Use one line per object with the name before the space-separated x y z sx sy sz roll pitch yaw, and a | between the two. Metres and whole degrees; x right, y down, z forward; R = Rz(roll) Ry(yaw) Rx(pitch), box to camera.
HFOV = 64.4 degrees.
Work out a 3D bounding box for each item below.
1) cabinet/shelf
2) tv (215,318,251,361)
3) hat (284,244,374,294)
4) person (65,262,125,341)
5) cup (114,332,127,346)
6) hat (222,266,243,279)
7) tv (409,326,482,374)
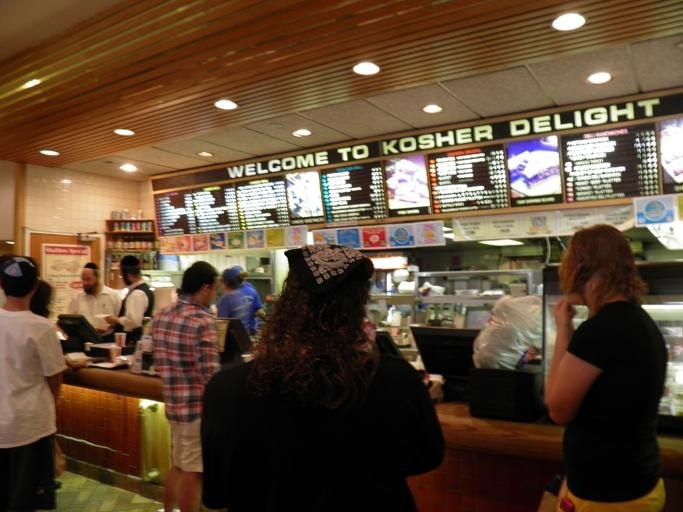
cabinet/shelf | -2.766 0.014 7.113 0.682 0.903 0.332 -1 6 -18
tv | -0.890 0.610 4.055 0.171 0.243 0.297 -4 -8 -43
hat | -0.045 0.049 1.781 0.315 0.116 0.188 -3 -21 39
person | -2.414 0.456 5.309 0.652 0.699 0.489 -6 1 4
cup | -1.806 0.697 4.527 0.130 0.101 0.108 -1 -11 -1
hat | -1.052 0.173 5.299 0.174 0.133 0.117 -3 -11 42
tv | 0.658 0.557 3.120 0.414 0.248 0.499 -9 -21 40
